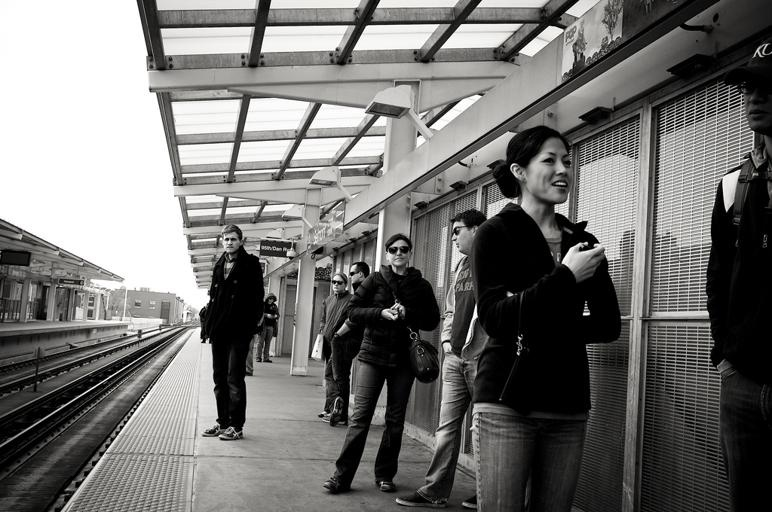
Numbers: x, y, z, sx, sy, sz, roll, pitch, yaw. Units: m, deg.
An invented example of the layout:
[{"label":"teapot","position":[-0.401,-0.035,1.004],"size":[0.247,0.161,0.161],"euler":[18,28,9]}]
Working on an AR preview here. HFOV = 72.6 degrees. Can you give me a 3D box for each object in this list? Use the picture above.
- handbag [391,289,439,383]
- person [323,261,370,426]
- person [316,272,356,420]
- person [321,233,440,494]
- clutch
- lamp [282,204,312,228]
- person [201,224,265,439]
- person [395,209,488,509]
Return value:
[{"label":"handbag","position":[0.363,0.905,5.241],"size":[0.286,0.567,0.290],"euler":[10,11,20]},{"label":"person","position":[-0.845,1.459,9.073],"size":[0.982,2.726,0.919],"euler":[4,5,5]},{"label":"person","position":[-0.941,1.594,9.465],"size":[0.654,2.558,0.917],"euler":[9,-9,-42]},{"label":"person","position":[-0.073,1.135,5.907],"size":[1.322,2.602,1.084],"euler":[-4,-3,-7]},{"label":"clutch","position":[0.595,0.455,2.504],"size":[0.160,0.563,0.170],"euler":[4,-35,-13]},{"label":"lamp","position":[-3.340,-1.544,19.844],"size":[0.942,0.572,0.609],"euler":[7,-23,2]},{"label":"person","position":[-2.142,1.028,7.232],"size":[0.764,2.922,0.700],"euler":[8,-10,-34]},{"label":"person","position":[0.782,1.020,5.027],"size":[1.183,2.784,1.085],"euler":[2,-3,-15]}]
